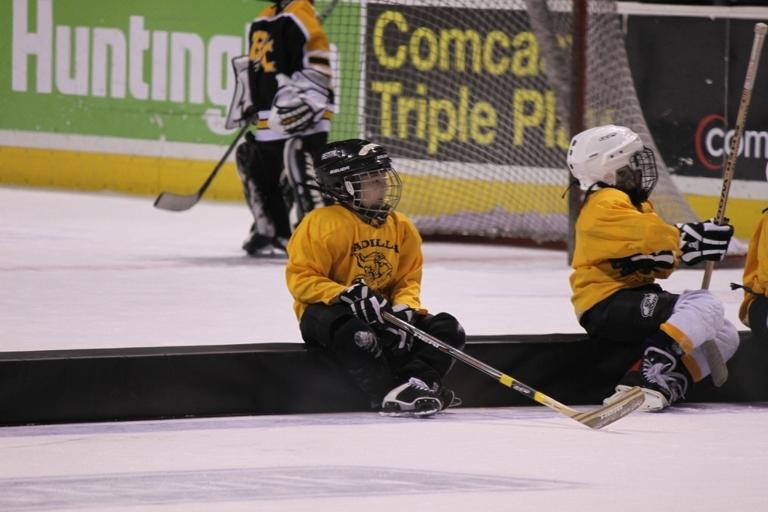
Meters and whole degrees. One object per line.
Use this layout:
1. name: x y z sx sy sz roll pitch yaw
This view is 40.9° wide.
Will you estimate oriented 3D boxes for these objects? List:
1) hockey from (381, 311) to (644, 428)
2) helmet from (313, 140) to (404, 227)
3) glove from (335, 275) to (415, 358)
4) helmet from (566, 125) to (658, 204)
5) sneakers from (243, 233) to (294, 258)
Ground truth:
1. hockey: 0.499 0.466 4.077 0.839 0.110 0.142 20 -22 21
2. helmet: -0.103 -0.295 4.102 0.382 0.318 0.294 6 12 14
3. glove: -0.010 0.228 4.051 0.291 0.104 0.291 34 9 -12
4. helmet: 0.929 -0.389 4.318 0.366 0.295 0.271 -8 10 -5
5. sneakers: -0.683 -0.064 6.024 0.271 0.171 0.086 7 29 8
